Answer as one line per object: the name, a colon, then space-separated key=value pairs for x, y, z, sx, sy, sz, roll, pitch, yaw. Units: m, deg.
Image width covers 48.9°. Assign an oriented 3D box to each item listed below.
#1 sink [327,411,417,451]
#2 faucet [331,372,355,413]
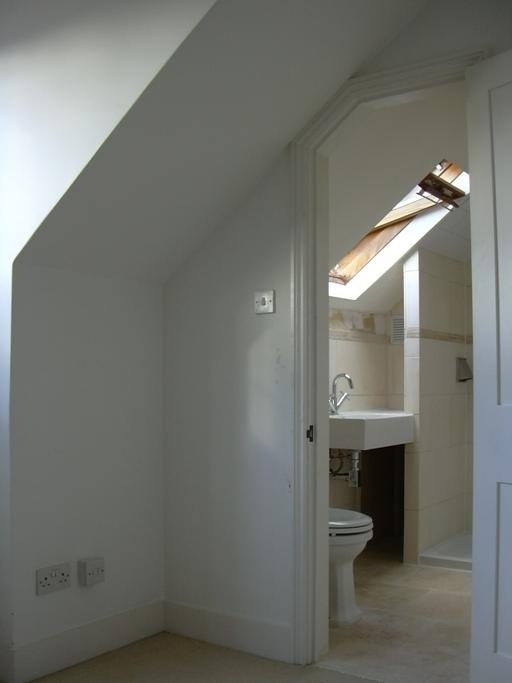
sink: x=0.641 y=0.476 z=3.052 sx=0.188 sy=0.177 sz=0.675 roll=-3 pitch=-9 yaw=38
faucet: x=0.519 y=0.305 z=3.402 sx=0.135 sy=0.255 sz=0.531 roll=0 pitch=-7 yaw=10
